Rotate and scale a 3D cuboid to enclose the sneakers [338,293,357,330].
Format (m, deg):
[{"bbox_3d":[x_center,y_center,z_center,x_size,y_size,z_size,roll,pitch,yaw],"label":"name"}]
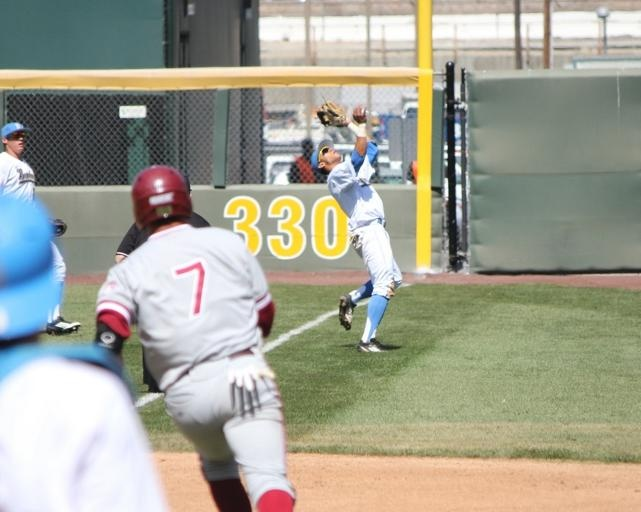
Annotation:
[{"bbox_3d":[0.292,0.679,17.248,0.144,0.458,0.218,11,20,43],"label":"sneakers"}]

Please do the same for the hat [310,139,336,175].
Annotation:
[{"bbox_3d":[-0.028,-1.178,17.265,0.187,0.396,0.267,8,24,21],"label":"hat"}]

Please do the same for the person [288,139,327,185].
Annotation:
[{"bbox_3d":[-0.239,-1.487,23.665,0.558,0.910,0.252,10,8,26],"label":"person"}]

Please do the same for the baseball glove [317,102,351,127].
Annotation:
[{"bbox_3d":[0.165,-1.769,18.153,0.385,0.177,0.314,28,21,-5],"label":"baseball glove"}]

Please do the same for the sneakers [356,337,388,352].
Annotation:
[{"bbox_3d":[0.615,1.032,16.976,0.368,0.186,0.138,-1,3,-10],"label":"sneakers"}]
